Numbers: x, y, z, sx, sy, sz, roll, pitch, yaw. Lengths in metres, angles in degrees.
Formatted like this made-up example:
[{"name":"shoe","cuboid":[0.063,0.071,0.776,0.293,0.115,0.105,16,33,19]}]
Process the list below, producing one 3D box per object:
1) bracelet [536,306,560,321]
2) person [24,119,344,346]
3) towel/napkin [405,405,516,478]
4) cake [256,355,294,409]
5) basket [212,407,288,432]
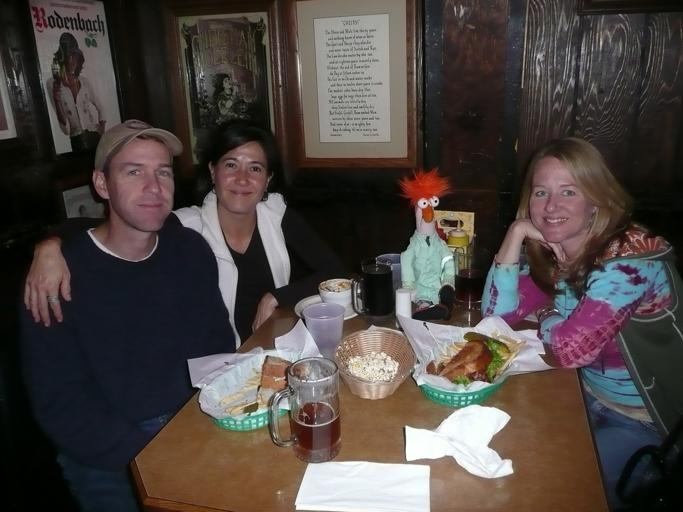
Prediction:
[{"name":"bracelet","cuboid":[0.899,0.256,2.168,0.074,0.053,0.077,4,-23,-10]},{"name":"person","cuboid":[-0.782,-0.119,2.432,0.958,1.058,0.352,-29,34,-36]},{"name":"towel/napkin","cuboid":[0.358,0.569,1.540,0.191,0.055,0.200,-1,20,13]},{"name":"cake","cuboid":[-0.229,0.422,1.688,0.120,0.042,0.124,3,62,-1]},{"name":"basket","cuboid":[-0.297,0.522,1.590,0.107,0.037,0.109,-2,0,17]}]
